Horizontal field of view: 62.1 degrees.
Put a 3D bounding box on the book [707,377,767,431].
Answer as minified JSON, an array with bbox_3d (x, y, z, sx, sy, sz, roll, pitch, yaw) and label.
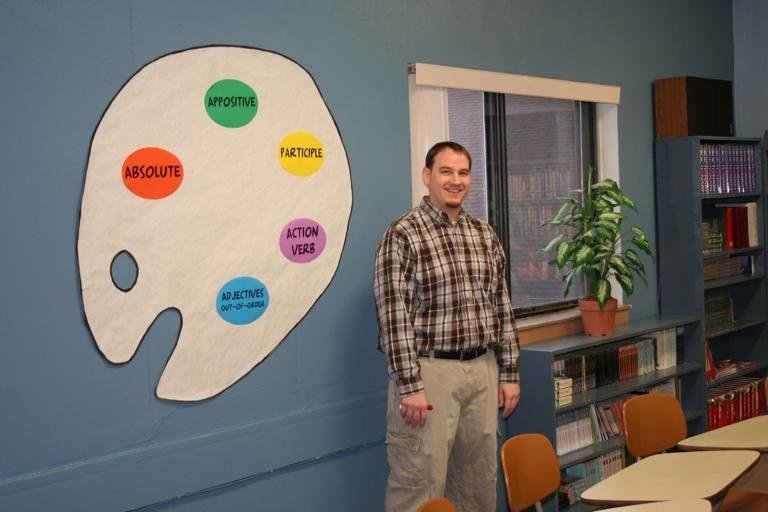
[{"bbox_3d":[2.733,1.161,4.980,0.564,0.245,0.194,-5,1,-33],"label":"book"}]

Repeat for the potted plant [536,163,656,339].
[{"bbox_3d":[1.619,0.107,4.630,0.605,0.989,0.637,8,-13,-4],"label":"potted plant"}]
